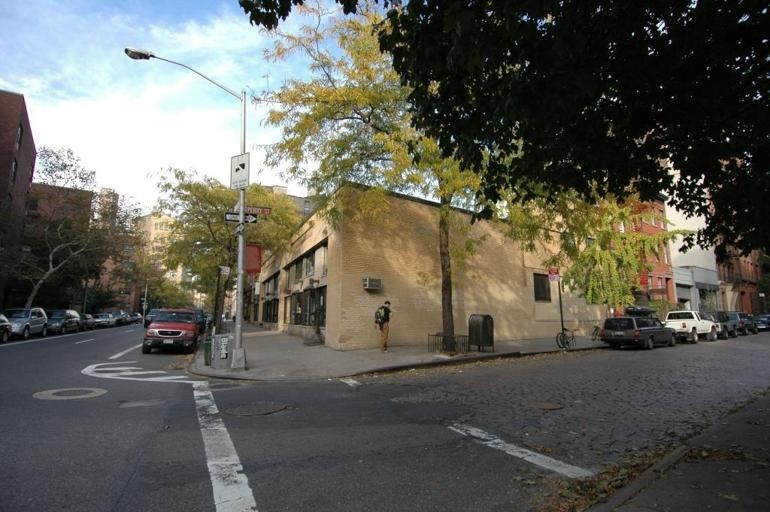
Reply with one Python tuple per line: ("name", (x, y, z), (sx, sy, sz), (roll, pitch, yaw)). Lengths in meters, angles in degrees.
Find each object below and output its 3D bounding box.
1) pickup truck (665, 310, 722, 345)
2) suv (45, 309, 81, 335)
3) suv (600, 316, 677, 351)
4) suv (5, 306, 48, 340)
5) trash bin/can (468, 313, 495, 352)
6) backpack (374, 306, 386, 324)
("pickup truck", (17.653, 4.160, 26.610), (4.021, 1.851, 2.321), (1, -5, -30))
("suv", (-23.649, 4.956, 33.196), (1.732, 1.565, 3.230), (0, -12, -7))
("suv", (12.328, 3.672, 21.989), (3.356, 1.183, 1.686), (3, -9, -35))
("suv", (-21.361, 4.016, 26.992), (1.805, 1.479, 2.874), (-1, -11, -7))
("trash bin/can", (3.739, 3.063, 17.931), (0.911, 1.414, 0.922), (-1, -8, 10))
("backpack", (-0.166, 2.338, 17.716), (0.382, 0.666, 0.231), (0, -7, 2))
